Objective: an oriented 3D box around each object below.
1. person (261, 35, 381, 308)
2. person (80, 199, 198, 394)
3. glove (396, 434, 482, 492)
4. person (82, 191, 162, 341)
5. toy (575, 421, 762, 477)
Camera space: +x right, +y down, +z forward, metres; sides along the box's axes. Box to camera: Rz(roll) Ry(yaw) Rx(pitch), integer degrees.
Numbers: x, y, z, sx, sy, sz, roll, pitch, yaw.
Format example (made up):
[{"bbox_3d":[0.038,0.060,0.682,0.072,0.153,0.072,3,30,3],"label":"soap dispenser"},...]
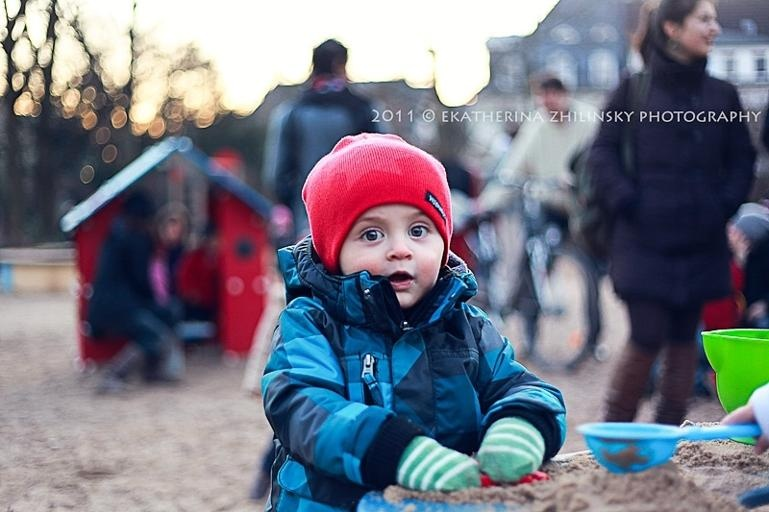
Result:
[{"bbox_3d":[-0.294,-0.945,8.329,0.727,0.655,2.015,13,42,-5],"label":"person"},{"bbox_3d":[-1.785,0.152,8.501,0.576,1.670,0.520,-2,42,-5],"label":"person"},{"bbox_3d":[0.243,0.954,5.376,0.383,0.231,0.110,1,11,2],"label":"glove"},{"bbox_3d":[-1.944,0.085,8.492,0.564,1.541,0.511,-8,50,-22],"label":"person"},{"bbox_3d":[1.312,0.844,5.355,0.751,0.177,0.331,0,-9,0],"label":"toy"}]
